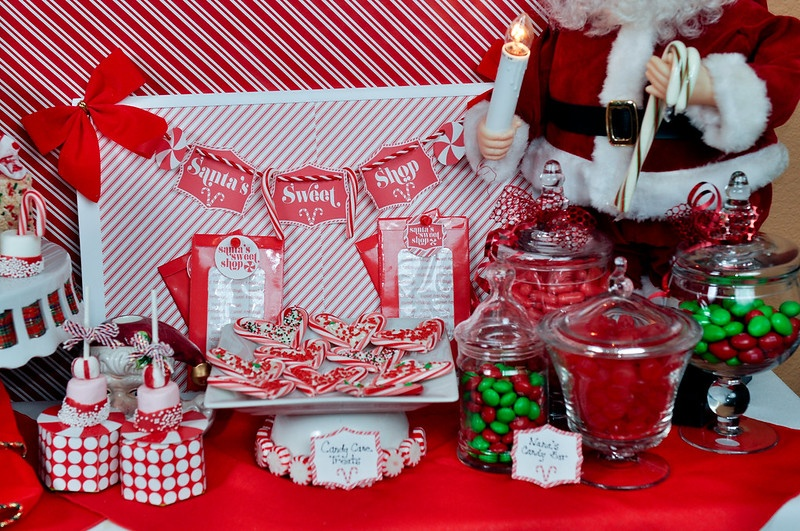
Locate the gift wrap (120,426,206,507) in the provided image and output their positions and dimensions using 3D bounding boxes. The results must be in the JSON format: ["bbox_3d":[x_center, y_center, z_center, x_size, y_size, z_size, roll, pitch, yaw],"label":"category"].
[{"bbox_3d":[-0.527,0.424,1.822,0.178,0.173,0.175,2,4,40],"label":"gift wrap"}]

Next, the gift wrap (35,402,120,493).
[{"bbox_3d":[-0.731,0.418,1.832,0.183,0.132,0.183,-3,12,-30],"label":"gift wrap"}]

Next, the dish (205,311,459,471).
[{"bbox_3d":[-0.149,0.256,1.991,0.461,0.216,0.383,0,13,-3],"label":"dish"}]

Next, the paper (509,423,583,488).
[{"bbox_3d":[0.335,0.438,1.817,0.149,0.129,0.006,1,-1,10],"label":"paper"}]
